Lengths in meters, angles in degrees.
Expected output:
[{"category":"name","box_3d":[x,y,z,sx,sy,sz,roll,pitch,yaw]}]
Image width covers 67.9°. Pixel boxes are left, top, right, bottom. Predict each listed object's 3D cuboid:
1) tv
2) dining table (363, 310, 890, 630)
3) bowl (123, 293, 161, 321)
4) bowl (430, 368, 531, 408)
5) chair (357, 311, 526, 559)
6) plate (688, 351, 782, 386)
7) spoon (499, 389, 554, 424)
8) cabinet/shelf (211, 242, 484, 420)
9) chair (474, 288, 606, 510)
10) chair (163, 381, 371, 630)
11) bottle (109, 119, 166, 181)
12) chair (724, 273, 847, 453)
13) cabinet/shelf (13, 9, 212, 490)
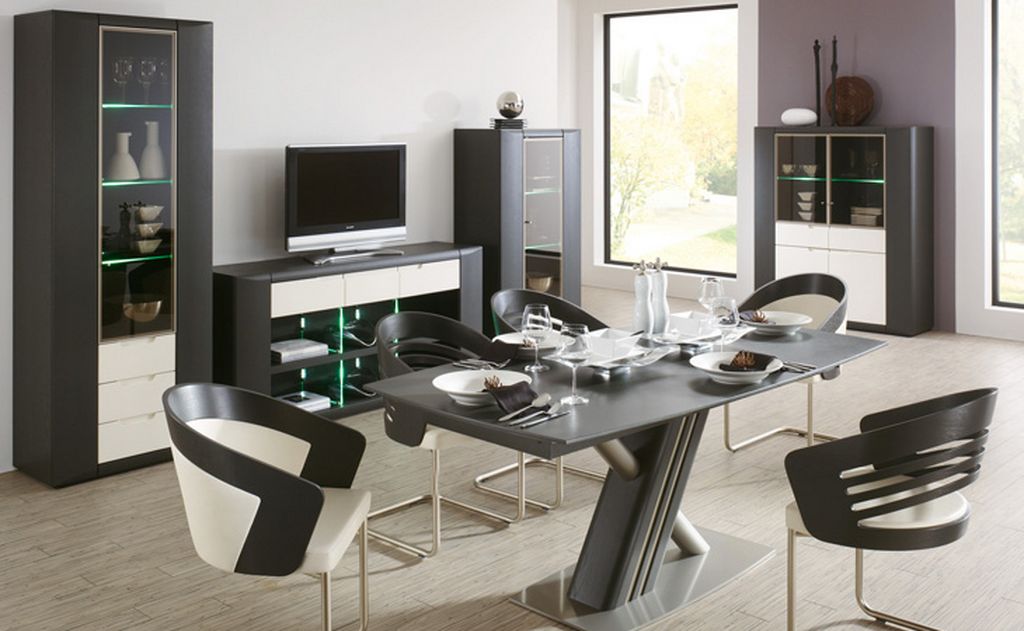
[{"category":"tv","box_3d":[-1.308,-0.909,5.970,0.105,0.844,1.145,17,22,37]},{"category":"dining table","box_3d":[0.333,0.744,3.633,1.471,1.000,2.429,4,9,42]},{"category":"bowl","box_3d":[-2.375,-0.051,4.843,0.185,0.111,0.176,0,10,0]},{"category":"bowl","box_3d":[-0.150,0.319,3.388,0.422,0.079,0.382,5,15,32]},{"category":"chair","box_3d":[-0.437,0.625,4.315,0.771,1.205,0.818,6,8,32]},{"category":"plate","box_3d":[1.029,0.233,3.569,0.342,0.099,0.375,-14,17,-40]},{"category":"spoon","box_3d":[0.075,0.384,3.202,0.124,0.049,0.336,9,18,42]},{"category":"cabinet/shelf","box_3d":[-1.358,0.200,6.248,0.698,1.263,2.746,1,7,27]},{"category":"chair","box_3d":[0.282,0.491,4.635,1.001,1.142,0.937,3,7,-4]},{"category":"chair","box_3d":[-1.034,0.913,3.307,0.793,1.222,0.625,-5,14,-7]},{"category":"bottle","box_3d":[-2.224,-0.981,4.735,0.429,0.379,0.237,-1,7,-44]},{"category":"chair","box_3d":[1.867,0.328,5.015,0.762,1.142,0.794,-7,7,-25]},{"category":"cabinet/shelf","box_3d":[-2.588,-0.426,4.867,1.415,2.834,0.568,-15,18,-37]}]
